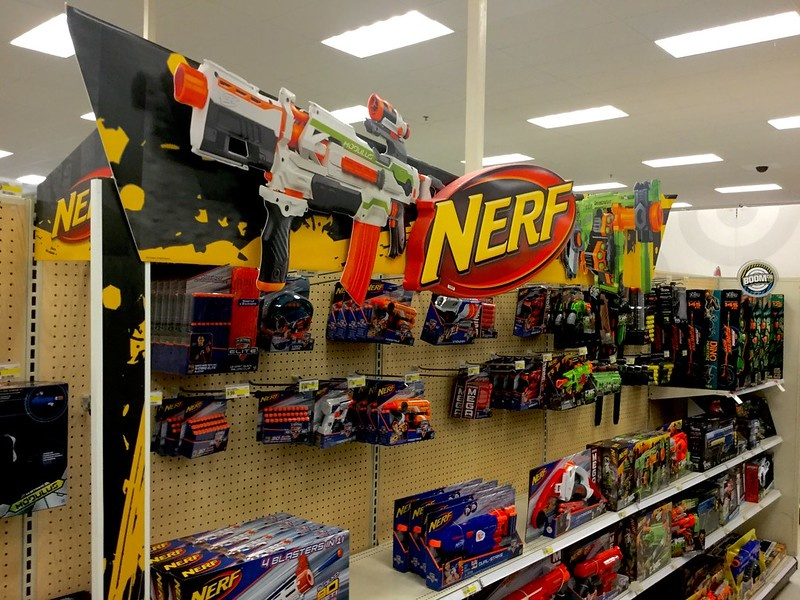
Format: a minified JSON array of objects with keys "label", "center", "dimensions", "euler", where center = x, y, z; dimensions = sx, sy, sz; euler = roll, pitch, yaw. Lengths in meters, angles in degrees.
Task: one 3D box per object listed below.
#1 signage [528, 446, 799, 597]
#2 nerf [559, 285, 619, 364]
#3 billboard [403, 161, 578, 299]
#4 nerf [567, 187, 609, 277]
[{"label":"signage","center":[1.570,1.329,3.607],"dimensions":[1.496,0.335,0.176],"euler":[-8,19,-38]},{"label":"nerf","center":[1.124,0.142,3.526],"dimensions":[0.071,0.396,0.382],"euler":[9,-7,-35]},{"label":"billboard","center":[0.413,-0.289,2.429],"dimensions":[0.994,0.497,0.101],"euler":[-17,18,-39]},{"label":"nerf","center":[0.930,-0.326,3.004],"dimensions":[0.079,0.421,0.207],"euler":[7,-5,38]}]
